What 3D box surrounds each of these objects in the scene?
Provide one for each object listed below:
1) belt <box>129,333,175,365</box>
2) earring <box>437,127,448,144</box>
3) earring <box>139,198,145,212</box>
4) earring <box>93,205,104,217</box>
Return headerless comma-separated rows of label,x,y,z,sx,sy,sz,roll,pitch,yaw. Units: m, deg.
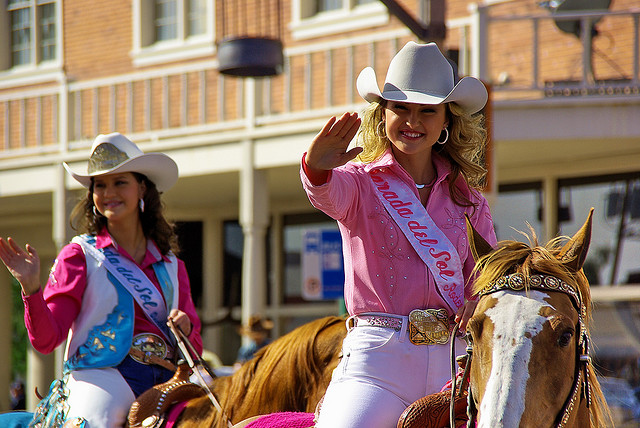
belt,-1.795,1.396,18.918,0.335,0.345,0.501,-2,0,-28
earring,1.259,-0.778,18.287,0.077,0.161,0.126,1,-7,-38
earring,-1.933,-0.078,19.293,0.037,0.125,0.080,-6,-6,27
earring,-2.400,-0.010,19.205,0.094,0.104,0.024,23,10,5
